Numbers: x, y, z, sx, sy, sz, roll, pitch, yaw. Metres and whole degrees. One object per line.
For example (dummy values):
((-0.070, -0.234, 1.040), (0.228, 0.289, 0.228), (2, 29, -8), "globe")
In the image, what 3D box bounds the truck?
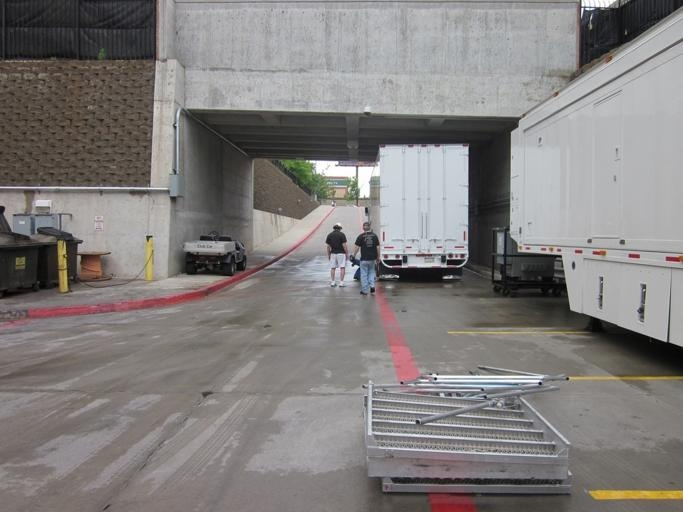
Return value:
((2.529, -1.508, 18.109), (2.614, 3.708, 0.691), (-1, 2, -7), "truck")

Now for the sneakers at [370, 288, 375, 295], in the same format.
((0.878, 0.974, 16.563), (0.145, 0.133, 0.108), (3, 8, 13), "sneakers")

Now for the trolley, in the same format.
((5.035, 0.159, 15.691), (1.760, 1.810, 1.963), (-1, 2, -1), "trolley")
